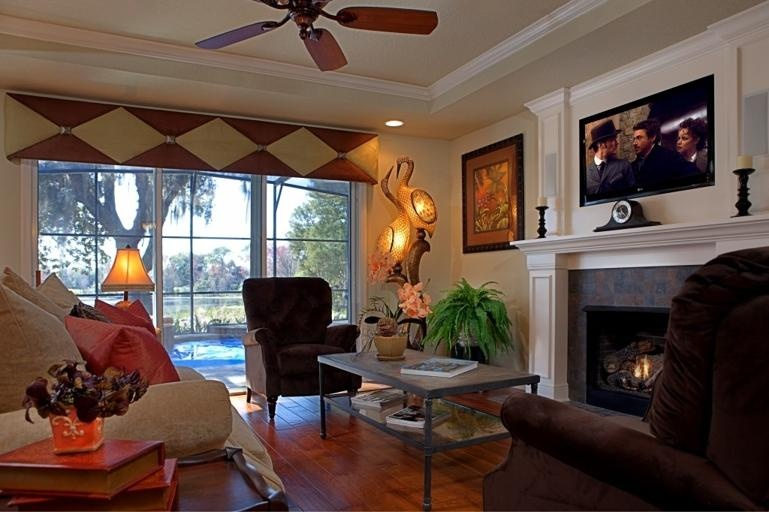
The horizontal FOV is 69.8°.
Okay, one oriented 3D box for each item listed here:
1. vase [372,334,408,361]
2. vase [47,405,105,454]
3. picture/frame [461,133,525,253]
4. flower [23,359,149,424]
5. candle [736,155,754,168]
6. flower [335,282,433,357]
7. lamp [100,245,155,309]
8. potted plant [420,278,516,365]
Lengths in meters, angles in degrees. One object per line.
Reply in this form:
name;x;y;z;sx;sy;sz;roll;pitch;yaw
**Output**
vase;0.036;0.639;3.858;0.190;0.117;0.187;-4;-9;28
vase;-0.989;0.562;1.808;0.161;0.130;0.132;0;-2;-6
picture/frame;1.151;-0.648;5.750;0.064;1.417;1.262;4;-8;-28
flower;-0.990;0.438;1.824;0.317;0.145;0.244;2;-4;-20
candle;2.301;-0.594;3.555;0.093;0.084;0.094;1;-6;4
flower;-0.053;0.514;4.546;0.865;0.830;0.717;-1;-2;6
lamp;-1.967;0.166;4.466;0.471;0.590;0.472;-1;-1;-42
potted plant;0.808;0.622;5.579;0.862;0.575;0.876;1;1;-18
